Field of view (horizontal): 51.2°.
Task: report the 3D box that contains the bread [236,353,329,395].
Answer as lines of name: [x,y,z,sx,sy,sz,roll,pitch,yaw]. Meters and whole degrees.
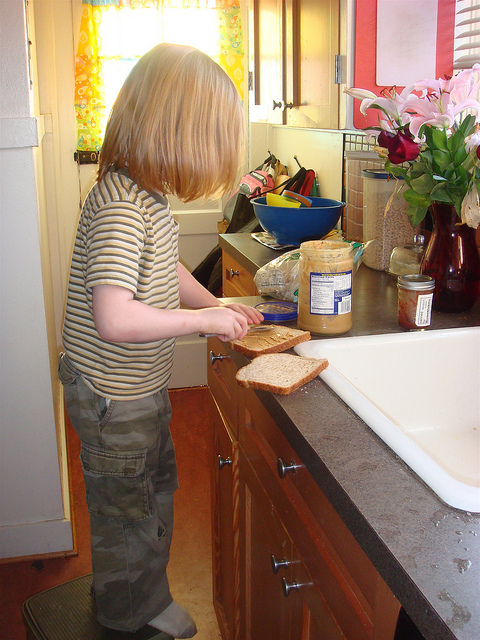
bread: [0.058,0.052,0.728,0.114,0.051,0.101,-9,19,-29]

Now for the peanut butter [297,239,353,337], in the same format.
peanut butter: [0.155,-0.067,0.901,0.094,0.173,0.103,-7,29,-7]

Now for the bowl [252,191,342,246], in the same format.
bowl: [0.183,-0.357,1.720,0.292,0.144,0.318,-6,23,3]
